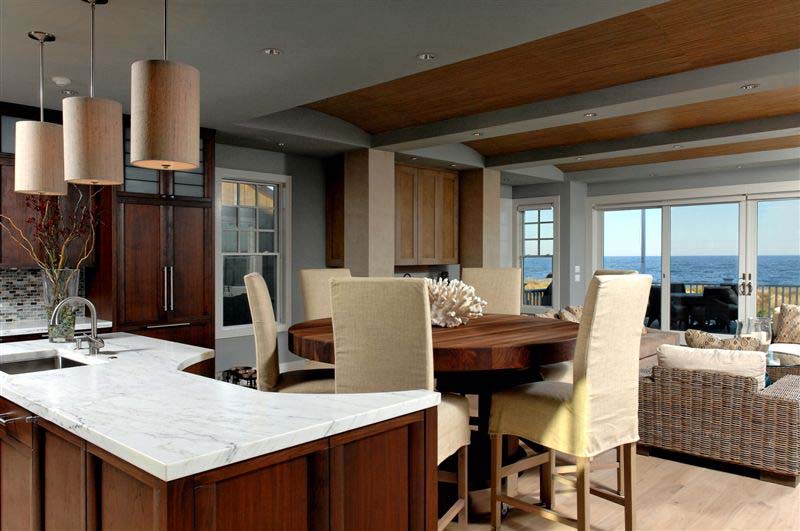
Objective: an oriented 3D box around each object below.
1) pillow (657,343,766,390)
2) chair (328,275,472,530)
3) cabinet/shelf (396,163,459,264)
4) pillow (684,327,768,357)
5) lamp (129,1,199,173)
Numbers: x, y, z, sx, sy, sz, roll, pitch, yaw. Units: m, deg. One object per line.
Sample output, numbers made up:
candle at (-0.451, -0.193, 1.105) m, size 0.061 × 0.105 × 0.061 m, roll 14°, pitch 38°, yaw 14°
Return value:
pillow at (2.333, 0.763, 4.570) m, size 0.721 × 0.287 × 0.176 m, roll 3°, pitch 13°, yaw 28°
chair at (0.023, 0.854, 3.442) m, size 0.774 × 1.581 × 0.470 m, roll -4°, pitch 13°, yaw -5°
cabinet/shelf at (0.322, -0.691, 7.979) m, size 0.472 × 1.151 × 1.482 m, roll -5°, pitch -8°, yaw 40°
pillow at (2.841, 0.669, 5.229) m, size 0.460 × 0.141 × 0.442 m, roll 0°, pitch 4°, yaw 28°
lamp at (-1.155, -0.740, 2.954) m, size 0.355 × 0.524 × 0.179 m, roll -6°, pitch 13°, yaw -14°
